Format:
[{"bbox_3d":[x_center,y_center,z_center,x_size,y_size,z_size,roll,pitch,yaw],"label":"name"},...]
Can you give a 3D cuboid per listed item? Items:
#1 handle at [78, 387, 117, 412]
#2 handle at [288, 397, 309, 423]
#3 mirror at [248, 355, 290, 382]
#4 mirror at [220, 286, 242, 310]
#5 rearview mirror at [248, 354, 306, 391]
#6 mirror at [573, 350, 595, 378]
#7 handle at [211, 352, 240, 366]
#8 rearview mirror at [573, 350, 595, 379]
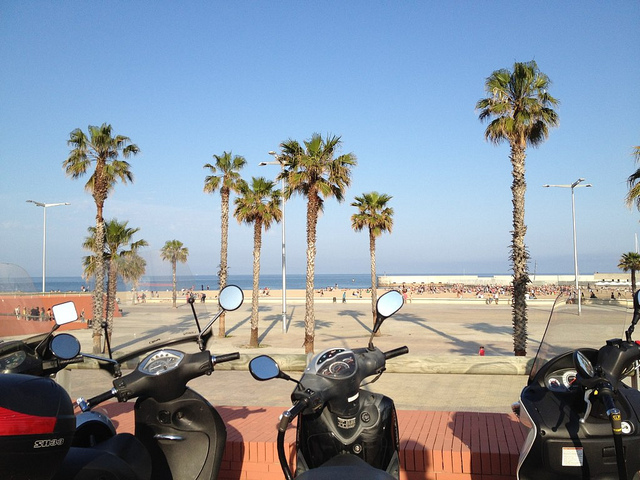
[{"bbox_3d":[-1.924,1.375,4.673,0.184,0.231,0.477,0,-2,-43],"label":"handle"},{"bbox_3d":[-0.156,1.300,4.107,0.122,0.164,0.442,-1,-2,4],"label":"handle"},{"bbox_3d":[-0.418,1.058,4.401,0.285,0.194,0.054,29,-48,-4],"label":"mirror"},{"bbox_3d":[-0.885,0.572,5.329,0.184,0.210,0.027,-23,-15,-2],"label":"mirror"},{"bbox_3d":[-0.376,1.049,4.366,0.390,0.094,0.242,31,35,9],"label":"rearview mirror"},{"bbox_3d":[2.225,1.050,4.497,0.189,0.200,0.045,39,-52,-24],"label":"mirror"},{"bbox_3d":[-0.866,1.083,4.932,0.254,0.129,0.283,-1,-2,-10],"label":"handle"},{"bbox_3d":[2.166,1.034,4.549,0.197,0.235,0.053,14,-36,-28],"label":"rearview mirror"}]
